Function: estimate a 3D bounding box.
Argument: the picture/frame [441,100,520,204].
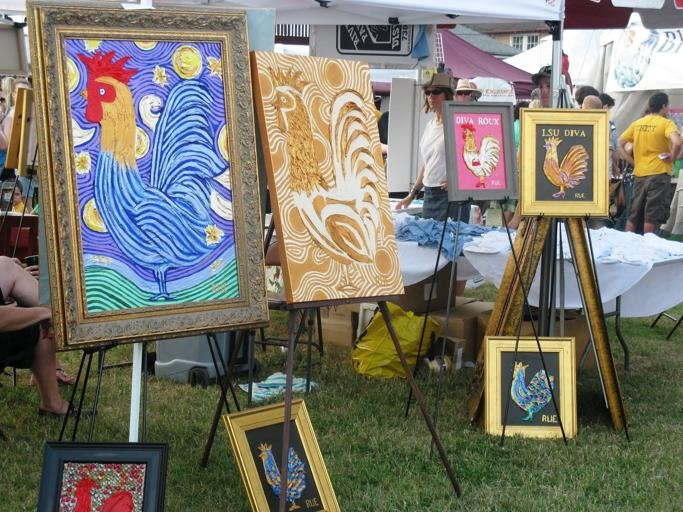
[{"bbox_3d":[0.821,-0.584,4.178,0.544,0.550,0.194,-5,13,-24],"label":"picture/frame"}]

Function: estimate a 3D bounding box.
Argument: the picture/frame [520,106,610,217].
[{"bbox_3d":[1.271,-0.525,4.265,0.509,0.757,0.050,0,-2,-4],"label":"picture/frame"}]

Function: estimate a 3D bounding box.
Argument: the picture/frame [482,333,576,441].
[{"bbox_3d":[1.061,0.771,4.227,0.476,0.657,0.041,1,-3,2],"label":"picture/frame"}]

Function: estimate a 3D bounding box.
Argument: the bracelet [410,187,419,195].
[{"bbox_3d":[0.645,-0.569,6.498,0.045,0.069,0.066,-1,-3,11],"label":"bracelet"}]
